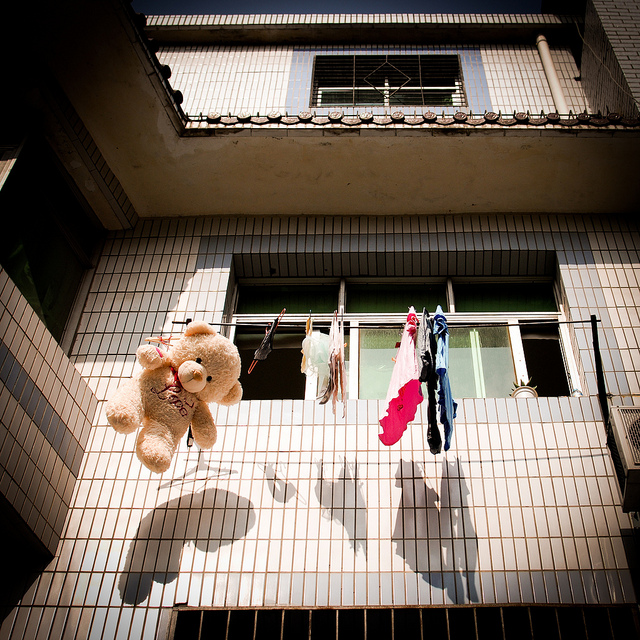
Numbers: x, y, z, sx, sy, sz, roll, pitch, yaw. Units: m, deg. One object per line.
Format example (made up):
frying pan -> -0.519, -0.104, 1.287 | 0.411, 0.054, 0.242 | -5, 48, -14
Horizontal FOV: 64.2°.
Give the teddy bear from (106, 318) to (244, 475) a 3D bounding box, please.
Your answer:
teddy bear -> -1.079, 0.587, 3.980 | 0.841, 1.137, 0.541 | 47, -44, -8
